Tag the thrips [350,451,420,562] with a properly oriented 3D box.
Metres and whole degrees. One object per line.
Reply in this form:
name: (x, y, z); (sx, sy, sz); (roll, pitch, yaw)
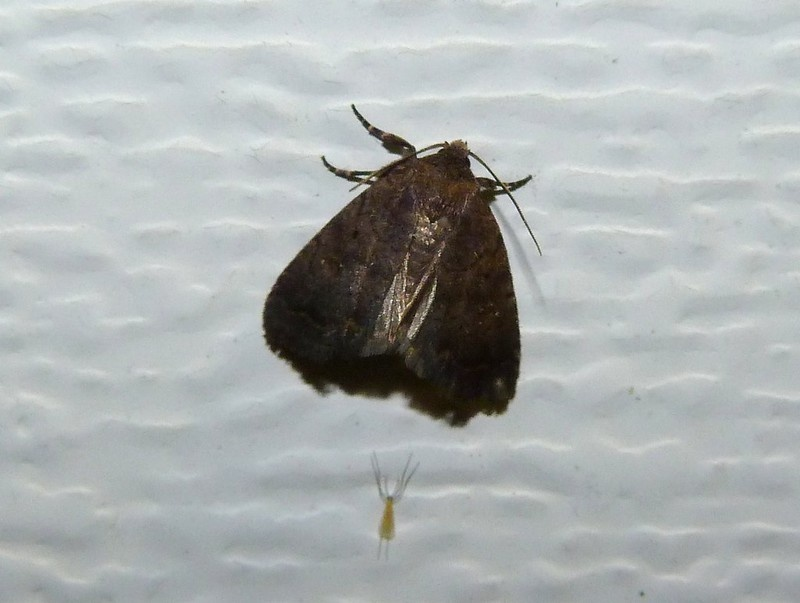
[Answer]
thrips: (-0.029, 1.300, 8.041); (0.304, 0.114, 0.653); (-2, 81, -1)
